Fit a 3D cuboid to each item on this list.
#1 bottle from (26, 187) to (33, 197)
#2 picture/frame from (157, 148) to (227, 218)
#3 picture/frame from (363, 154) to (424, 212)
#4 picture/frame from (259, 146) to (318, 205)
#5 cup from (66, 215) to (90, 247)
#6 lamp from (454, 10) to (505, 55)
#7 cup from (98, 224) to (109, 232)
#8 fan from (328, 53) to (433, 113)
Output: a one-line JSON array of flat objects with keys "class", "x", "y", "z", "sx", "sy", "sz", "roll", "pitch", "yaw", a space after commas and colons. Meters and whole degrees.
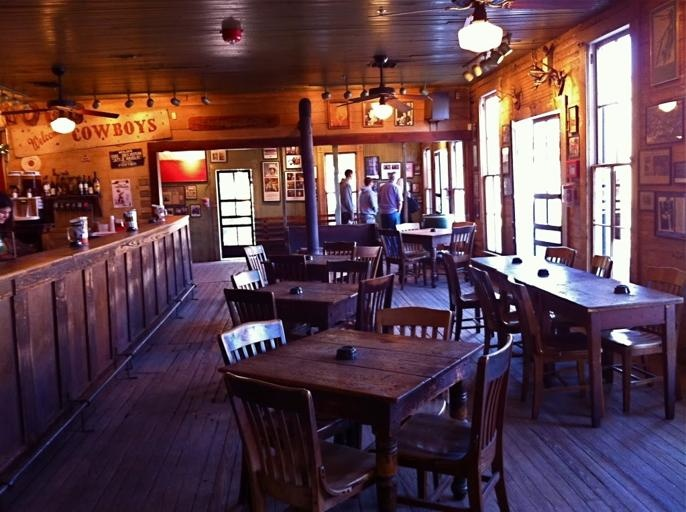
[{"class": "bottle", "x": -6.594, "y": -1.319, "z": 11.291, "sx": 0.099, "sy": 0.209, "sz": 0.245, "roll": -7, "pitch": 10, "yaw": -24}, {"class": "picture/frame", "x": -3.861, "y": -1.847, "z": 13.436, "sx": 2.128, "sy": 2.169, "sz": 0.109, "roll": 0, "pitch": 5, "yaw": -7}, {"class": "picture/frame", "x": 1.190, "y": -1.843, "z": 13.453, "sx": 1.925, "sy": 1.807, "sz": 0.191, "roll": 0, "pitch": -4, "yaw": -9}, {"class": "picture/frame", "x": -1.416, "y": -2.013, "z": 13.509, "sx": 1.076, "sy": 1.425, "sz": 1.767, "roll": -6, "pitch": 9, "yaw": -17}, {"class": "cup", "x": -2.728, "y": -0.246, "z": 5.514, "sx": 0.185, "sy": 0.271, "sz": 0.459, "roll": -8, "pitch": 10, "yaw": -27}, {"class": "lamp", "x": 1.084, "y": -1.805, "z": 4.278, "sx": 0.312, "sy": 0.334, "sz": 0.257, "roll": -1, "pitch": 9, "yaw": 12}, {"class": "cup", "x": -3.332, "y": -0.387, "z": 7.465, "sx": 0.133, "sy": 0.129, "sz": 0.126, "roll": 1, "pitch": 5, "yaw": 0}, {"class": "fan", "x": 0.559, "y": -2.599, "z": 8.248, "sx": 1.513, "sy": 0.836, "sz": 1.588, "roll": -6, "pitch": 20, "yaw": -1}]
